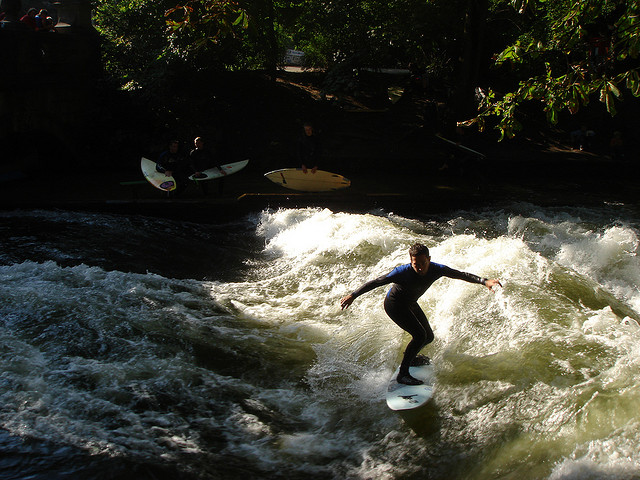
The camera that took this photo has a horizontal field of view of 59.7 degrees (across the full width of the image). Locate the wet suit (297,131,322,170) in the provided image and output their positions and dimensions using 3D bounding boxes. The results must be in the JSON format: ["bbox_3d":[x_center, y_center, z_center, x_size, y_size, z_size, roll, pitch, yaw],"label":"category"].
[{"bbox_3d":[-0.242,-2.261,14.019,0.544,0.944,0.677,-3,16,-4],"label":"wet suit"}]

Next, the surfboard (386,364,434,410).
[{"bbox_3d":[1.101,1.819,6.873,0.541,0.230,0.780,0,14,8],"label":"surfboard"}]

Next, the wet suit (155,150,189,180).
[{"bbox_3d":[-3.642,-1.870,13.821,0.778,0.689,0.363,-5,17,-11],"label":"wet suit"}]

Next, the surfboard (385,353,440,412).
[{"bbox_3d":[1.159,1.833,7.173,0.659,0.270,2.072,6,10,11],"label":"surfboard"}]

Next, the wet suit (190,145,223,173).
[{"bbox_3d":[-2.955,-2.074,14.365,0.761,0.683,0.940,-5,15,-10],"label":"wet suit"}]

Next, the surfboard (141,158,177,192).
[{"bbox_3d":[-4.217,-1.666,14.542,0.610,0.336,2.026,-36,32,-9],"label":"surfboard"}]

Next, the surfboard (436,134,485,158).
[{"bbox_3d":[4.602,-3.066,18.178,0.625,0.574,2.047,-7,15,-18],"label":"surfboard"}]

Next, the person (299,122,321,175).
[{"bbox_3d":[-0.261,-2.289,14.047,0.522,1.274,1.359,-3,15,-2],"label":"person"}]

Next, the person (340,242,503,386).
[{"bbox_3d":[1.131,0.890,6.865,1.598,1.758,0.544,0,17,8],"label":"person"}]

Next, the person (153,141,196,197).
[{"bbox_3d":[-3.608,-1.772,13.798,0.790,1.368,0.433,-6,17,-13],"label":"person"}]
